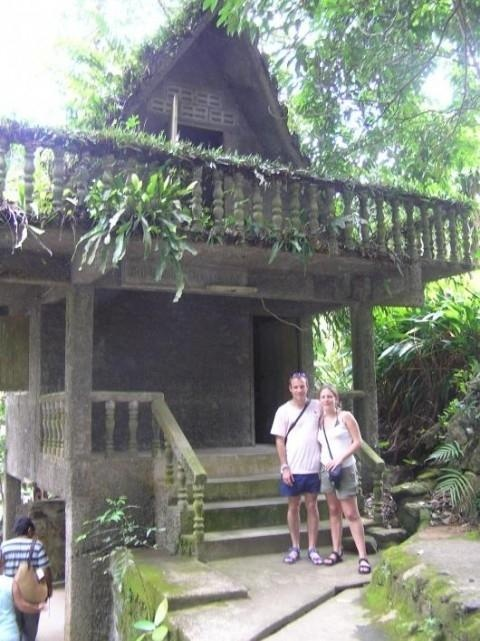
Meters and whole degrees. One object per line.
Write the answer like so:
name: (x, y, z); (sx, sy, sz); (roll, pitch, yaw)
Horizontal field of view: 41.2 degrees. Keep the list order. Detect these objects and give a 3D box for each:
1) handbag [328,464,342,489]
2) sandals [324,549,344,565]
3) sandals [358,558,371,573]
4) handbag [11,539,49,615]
handbag: (0.794, 1.319, 5.327); (0.090, 0.199, 0.139); (-5, -8, 26)
sandals: (0.823, 2.090, 5.619); (0.074, 0.136, 0.240); (-10, -23, 28)
sandals: (1.028, 2.028, 5.274); (0.109, 0.108, 0.169); (-5, -9, 11)
handbag: (-1.726, 2.101, 5.222); (0.102, 0.499, 0.314); (-12, -33, 11)
